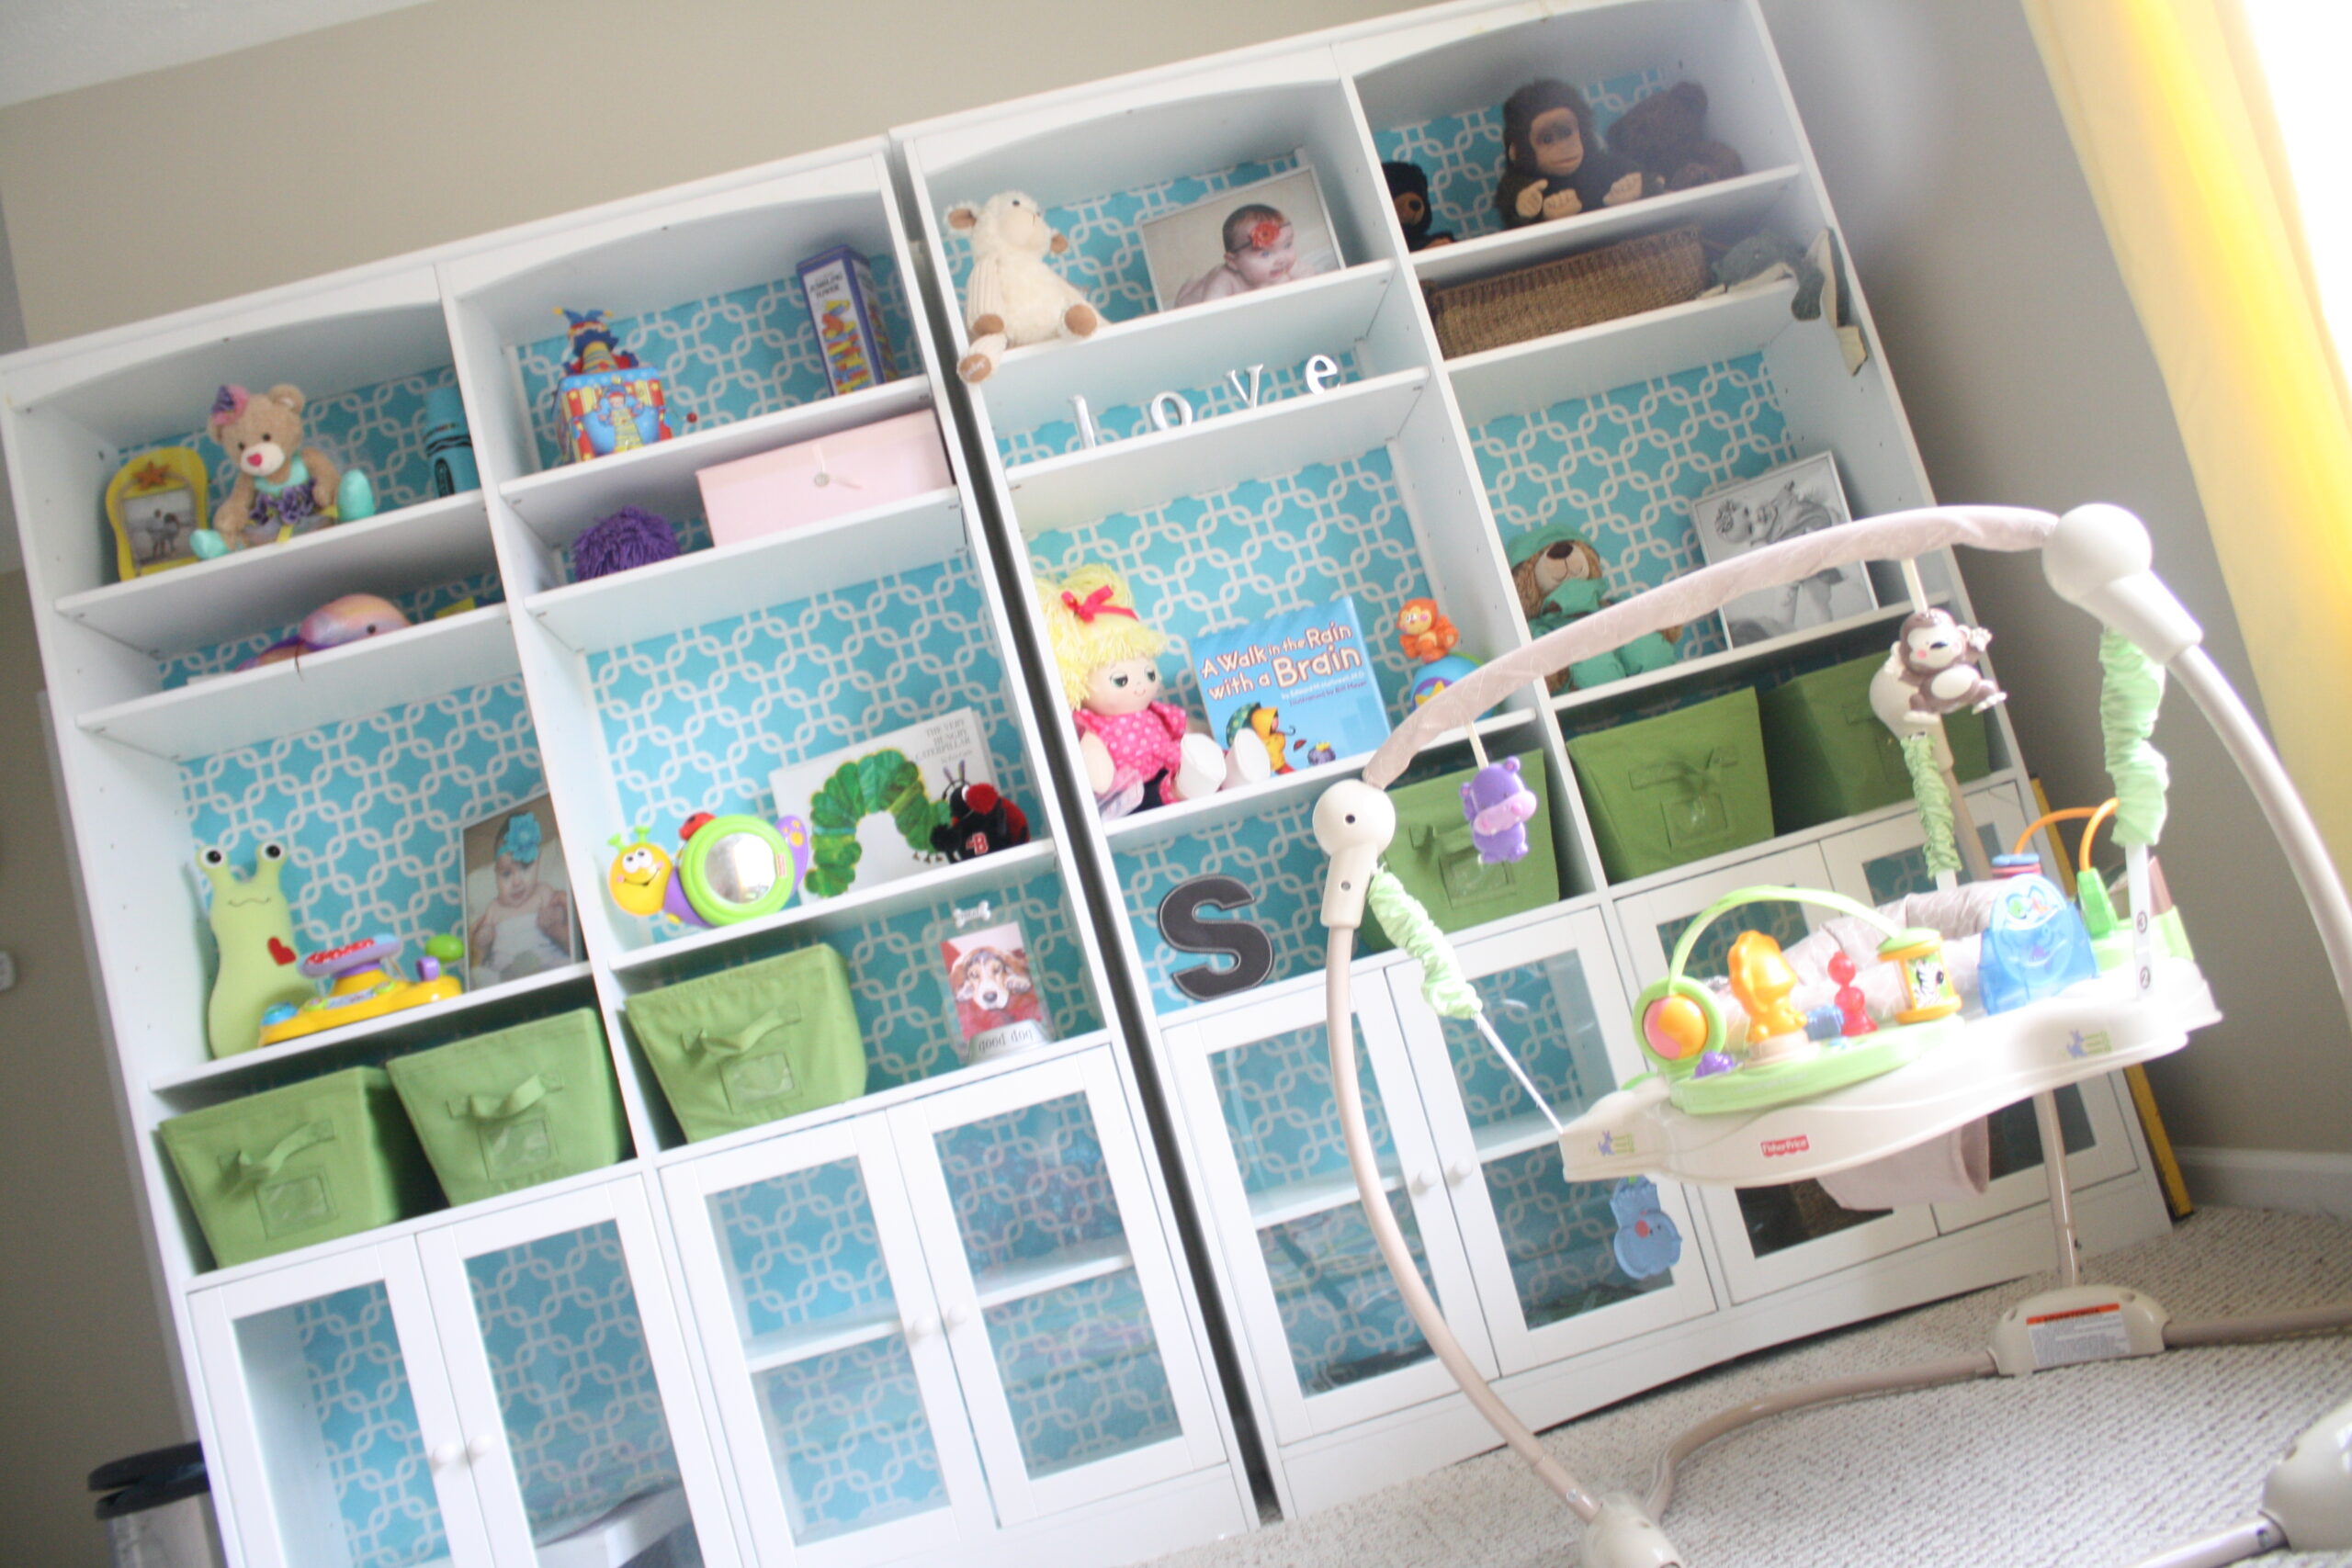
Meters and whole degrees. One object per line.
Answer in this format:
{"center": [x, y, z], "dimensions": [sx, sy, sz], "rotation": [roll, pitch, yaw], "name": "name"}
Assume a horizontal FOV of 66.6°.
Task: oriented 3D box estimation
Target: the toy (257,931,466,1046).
{"center": [-1.770, 0.449, 3.872], "dimensions": [0.329, 0.109, 0.248], "rotation": [-10, 1, 6], "name": "toy"}

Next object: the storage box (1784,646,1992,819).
{"center": [1.518, -0.106, 3.993], "dimensions": [0.375, 0.285, 0.392], "rotation": [-23, -11, 38], "name": "storage box"}

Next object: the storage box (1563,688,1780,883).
{"center": [1.062, 0.021, 3.862], "dimensions": [0.362, 0.265, 0.130], "rotation": [-19, 3, -8], "name": "storage box"}

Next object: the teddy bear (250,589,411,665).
{"center": [-1.866, -0.355, 3.998], "dimensions": [0.299, 0.139, 0.155], "rotation": [-6, 41, -6], "name": "teddy bear"}

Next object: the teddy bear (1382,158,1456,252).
{"center": [0.544, -1.339, 4.242], "dimensions": [0.203, 0.183, 0.245], "rotation": [-11, 13, 13], "name": "teddy bear"}

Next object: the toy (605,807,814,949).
{"center": [-1.024, 0.193, 3.954], "dimensions": [0.435, 0.292, 0.153], "rotation": [-1, -28, -24], "name": "toy"}

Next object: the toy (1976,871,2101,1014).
{"center": [1.420, 0.272, 2.955], "dimensions": [0.172, 0.239, 0.132], "rotation": [-12, -14, 6], "name": "toy"}

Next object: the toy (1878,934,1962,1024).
{"center": [1.239, 0.328, 2.987], "dimensions": [0.126, 0.156, 0.099], "rotation": [-11, -15, 4], "name": "toy"}

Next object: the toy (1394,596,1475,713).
{"center": [0.577, -0.286, 4.063], "dimensions": [0.142, 0.261, 0.118], "rotation": [-10, -4, -38], "name": "toy"}

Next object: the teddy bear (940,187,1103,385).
{"center": [-0.344, -1.120, 3.970], "dimensions": [0.307, 0.373, 0.316], "rotation": [-7, 17, 2], "name": "teddy bear"}

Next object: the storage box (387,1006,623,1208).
{"center": [-1.432, 0.695, 3.941], "dimensions": [0.433, 0.350, 0.518], "rotation": [-11, 1, -10], "name": "storage box"}

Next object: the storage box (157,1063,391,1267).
{"center": [-1.824, 0.786, 3.789], "dimensions": [0.453, 0.306, 0.349], "rotation": [-18, -4, -22], "name": "storage box"}

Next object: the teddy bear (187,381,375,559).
{"center": [-2.027, -0.694, 4.006], "dimensions": [0.370, 0.378, 0.234], "rotation": [-16, 13, -8], "name": "teddy bear"}

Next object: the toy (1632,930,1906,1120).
{"center": [0.971, 0.423, 2.995], "dimensions": [0.341, 0.208, 0.341], "rotation": [-13, -1, -2], "name": "toy"}

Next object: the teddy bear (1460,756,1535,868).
{"center": [0.597, 0.052, 3.325], "dimensions": [0.118, 0.193, 0.137], "rotation": [-14, 1, 9], "name": "teddy bear"}

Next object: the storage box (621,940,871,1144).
{"center": [-0.918, 0.511, 3.941], "dimensions": [0.535, 0.378, 0.392], "rotation": [-14, -2, -3], "name": "storage box"}

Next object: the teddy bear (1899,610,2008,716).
{"center": [1.445, -0.220, 3.361], "dimensions": [0.178, 0.181, 0.131], "rotation": [-22, 7, 29], "name": "teddy bear"}

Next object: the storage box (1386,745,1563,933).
{"center": [0.607, 0.132, 3.667], "dimensions": [0.319, 0.235, 0.183], "rotation": [-26, -1, -6], "name": "storage box"}

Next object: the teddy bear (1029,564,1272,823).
{"center": [-0.160, -0.210, 4.164], "dimensions": [0.511, 0.601, 0.524], "rotation": [-12, 11, 25], "name": "teddy bear"}

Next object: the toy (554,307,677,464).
{"center": [-1.255, -0.838, 3.991], "dimensions": [0.222, 0.369, 0.157], "rotation": [-14, -2, -17], "name": "toy"}
